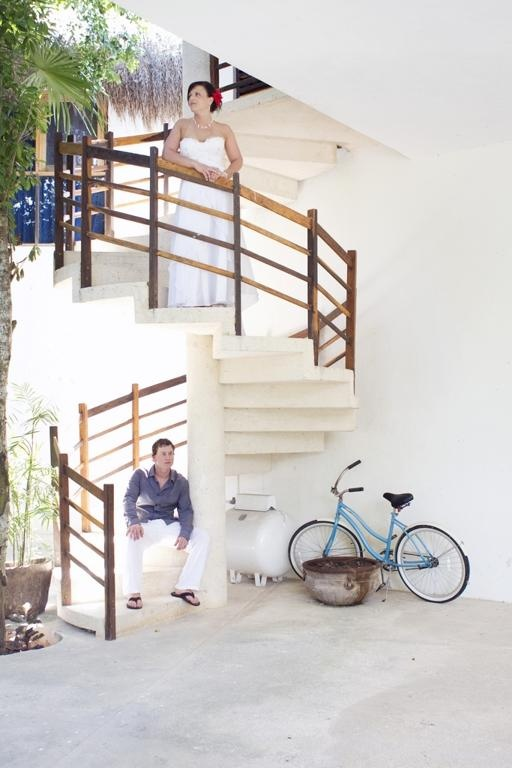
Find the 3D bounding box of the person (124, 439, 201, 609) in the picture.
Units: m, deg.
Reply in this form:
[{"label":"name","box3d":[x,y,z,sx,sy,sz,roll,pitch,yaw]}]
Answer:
[{"label":"person","box3d":[-0.645,0.919,6.590,0.651,1.090,0.558,-3,7,-37]}]

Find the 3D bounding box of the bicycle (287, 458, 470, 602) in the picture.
[{"label":"bicycle","box3d":[0.852,1.088,7.228,1.359,0.785,0.675,7,-13,-18]}]

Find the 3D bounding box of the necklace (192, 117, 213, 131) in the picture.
[{"label":"necklace","box3d":[-0.328,-1.596,6.278,0.099,0.025,0.103,-17,31,-41]}]

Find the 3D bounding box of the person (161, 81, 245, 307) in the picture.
[{"label":"person","box3d":[-0.327,-1.155,6.131,0.464,1.379,0.674,1,5,-2]}]

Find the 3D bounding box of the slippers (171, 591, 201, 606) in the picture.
[{"label":"slippers","box3d":[-0.459,1.384,6.609,0.168,0.062,0.091,23,-6,-10]}]

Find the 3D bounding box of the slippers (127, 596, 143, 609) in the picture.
[{"label":"slippers","box3d":[-0.756,1.352,6.295,0.102,0.076,0.192,0,5,-6]}]
